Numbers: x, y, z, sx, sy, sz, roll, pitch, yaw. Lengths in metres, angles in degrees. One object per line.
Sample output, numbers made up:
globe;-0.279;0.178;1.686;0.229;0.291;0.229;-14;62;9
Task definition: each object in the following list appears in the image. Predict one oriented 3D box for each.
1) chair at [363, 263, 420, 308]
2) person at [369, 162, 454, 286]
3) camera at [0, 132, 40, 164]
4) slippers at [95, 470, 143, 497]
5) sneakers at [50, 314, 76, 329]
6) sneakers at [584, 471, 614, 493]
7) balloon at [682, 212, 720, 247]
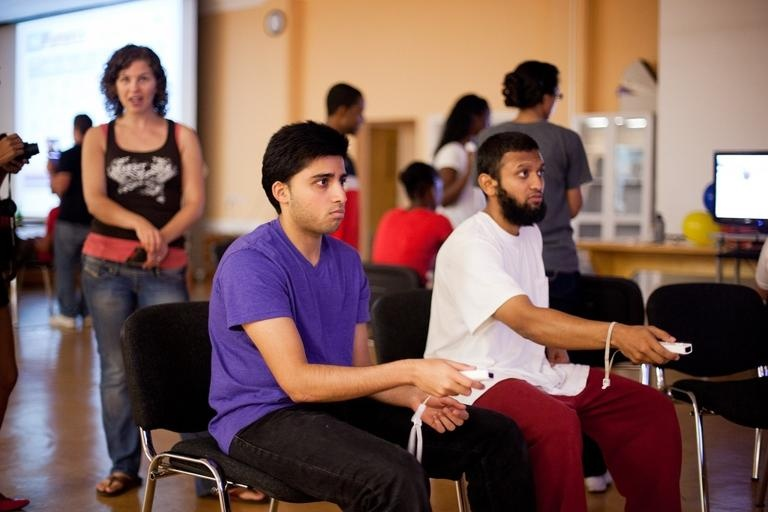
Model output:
chair;0.044;0.160;3.815;0.204;0.300;0.244;-1;-5;6
person;0.250;-0.123;4.602;0.534;0.941;0.560;7;17;25
camera;-1.646;-0.488;3.128;0.140;0.070;0.132;-2;-37;-17
slippers;-1.304;1.102;3.380;0.087;0.092;0.232;6;-3;43
sneakers;-2.885;0.585;6.159;0.233;0.104;0.117;11;10;16
sneakers;1.091;1.149;3.498;0.115;0.079;0.195;0;5;0
balloon;2.135;-0.184;4.667;0.228;0.179;0.179;13;-8;35
